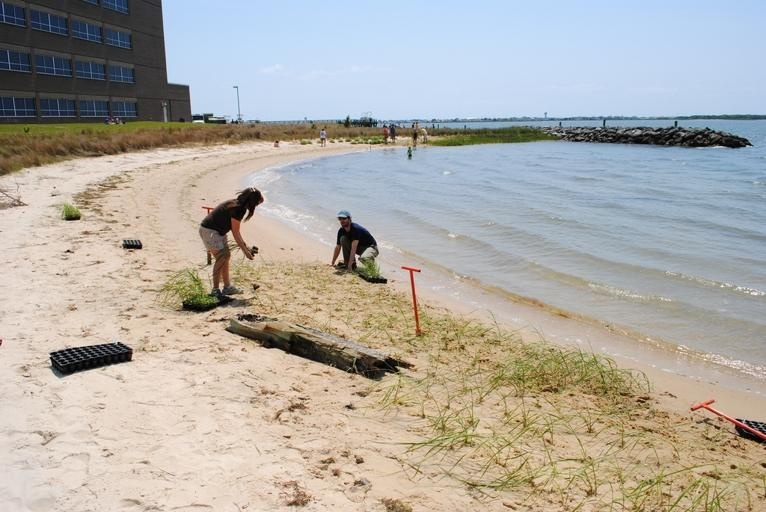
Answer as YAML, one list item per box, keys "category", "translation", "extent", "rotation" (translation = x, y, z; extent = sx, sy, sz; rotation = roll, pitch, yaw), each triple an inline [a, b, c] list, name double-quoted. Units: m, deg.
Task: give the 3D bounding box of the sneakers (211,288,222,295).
- category: "sneakers"
  translation: [-3.416, 0.743, 12.282]
  extent: [0.197, 0.124, 0.159]
  rotation: [0, -5, 2]

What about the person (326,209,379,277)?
- category: "person"
  translation: [-0.731, -0.415, 15.331]
  extent: [1.180, 1.519, 0.980]
  rotation: [2, 18, 1]

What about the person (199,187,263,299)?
- category: "person"
  translation: [-3.077, -0.250, 12.148]
  extent: [1.203, 2.302, 0.800]
  rotation: [2, 20, 1]

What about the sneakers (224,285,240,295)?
- category: "sneakers"
  translation: [-3.123, 0.731, 12.562]
  extent: [0.426, 0.132, 0.135]
  rotation: [-4, 22, -7]
